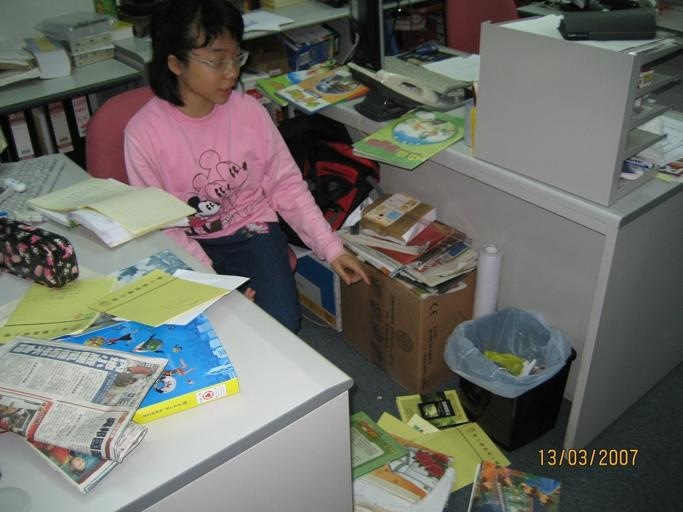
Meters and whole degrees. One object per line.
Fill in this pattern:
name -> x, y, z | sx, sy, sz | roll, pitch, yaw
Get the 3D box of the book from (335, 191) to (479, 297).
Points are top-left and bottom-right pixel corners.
book -> 0.246, -0.046, 1.875 | 0.419, 0.124, 0.320 | 36, 54, 24

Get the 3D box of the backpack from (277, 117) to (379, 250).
backpack -> 0.030, -0.314, 2.086 | 0.550, 0.483, 0.184 | 25, 20, 33

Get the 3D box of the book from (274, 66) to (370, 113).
book -> -0.083, -0.674, 2.074 | 0.277, 0.064, 0.273 | -32, 49, -31

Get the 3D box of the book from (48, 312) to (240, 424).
book -> -0.352, 0.172, 0.938 | 0.215, 0.043, 0.222 | -21, 38, -35

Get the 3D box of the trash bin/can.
trash bin/can -> 0.571, 0.405, 1.770 | 0.394, 0.344, 0.368 | -29, 33, -31

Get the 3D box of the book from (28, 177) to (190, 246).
book -> -0.577, -0.124, 1.338 | 0.345, 0.057, 0.193 | 23, 37, 25

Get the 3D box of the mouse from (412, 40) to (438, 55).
mouse -> 0.358, -0.882, 2.161 | 0.100, 0.041, 0.068 | -20, 33, -21

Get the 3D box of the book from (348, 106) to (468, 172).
book -> 0.232, -0.411, 1.787 | 0.294, 0.042, 0.274 | -37, 42, -27

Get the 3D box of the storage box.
storage box -> 0.308, 0.228, 2.097 | 0.405, 0.451, 0.509 | -14, 27, -23
